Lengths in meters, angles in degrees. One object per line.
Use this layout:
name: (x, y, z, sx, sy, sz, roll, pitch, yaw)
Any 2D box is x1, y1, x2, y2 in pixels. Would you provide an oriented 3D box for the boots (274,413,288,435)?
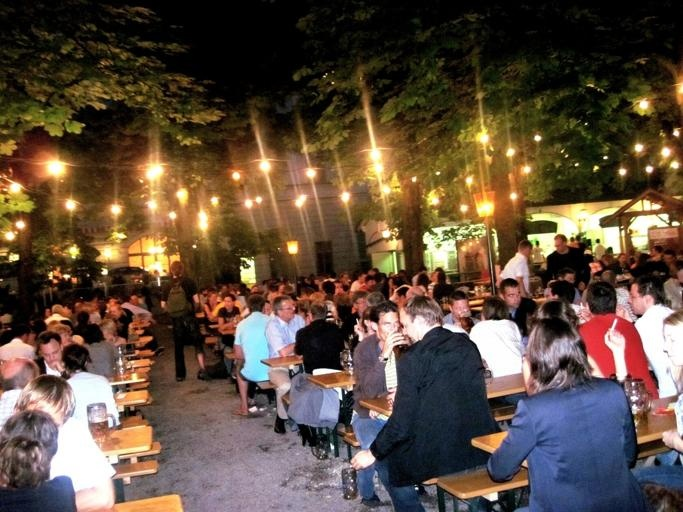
boots: (-0.991, 2.780, 7.912, 0.386, 0.252, 0.147, -2, -3, 45)

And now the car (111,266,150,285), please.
car: (-14.476, 1.326, 32.938, 2.910, 0.748, 1.642, 2, -4, -17)

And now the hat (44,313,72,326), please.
hat: (-7.626, 1.711, 13.105, 0.721, 0.303, 0.371, -2, 2, -9)
